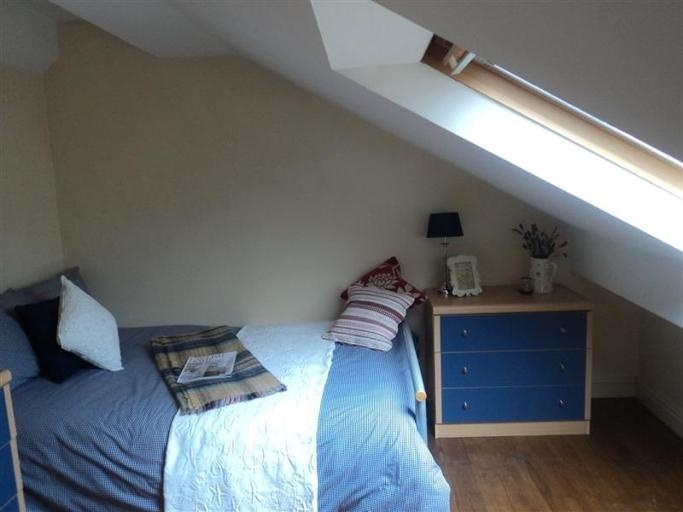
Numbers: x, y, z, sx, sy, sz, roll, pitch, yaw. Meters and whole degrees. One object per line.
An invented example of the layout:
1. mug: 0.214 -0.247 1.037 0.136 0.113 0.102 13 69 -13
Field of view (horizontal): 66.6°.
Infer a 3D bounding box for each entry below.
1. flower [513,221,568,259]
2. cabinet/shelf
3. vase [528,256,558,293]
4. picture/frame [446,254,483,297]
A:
1. flower: 1.341 -0.074 3.418 0.243 0.144 0.255 7 -1 4
2. cabinet/shelf: 1.087 0.653 3.443 0.952 0.902 0.577 -3 16 9
3. vase: 1.319 0.117 3.355 0.130 0.235 0.206 -16 20 -21
4. picture/frame: 0.806 0.137 3.440 0.245 0.311 0.021 -4 -17 -7
